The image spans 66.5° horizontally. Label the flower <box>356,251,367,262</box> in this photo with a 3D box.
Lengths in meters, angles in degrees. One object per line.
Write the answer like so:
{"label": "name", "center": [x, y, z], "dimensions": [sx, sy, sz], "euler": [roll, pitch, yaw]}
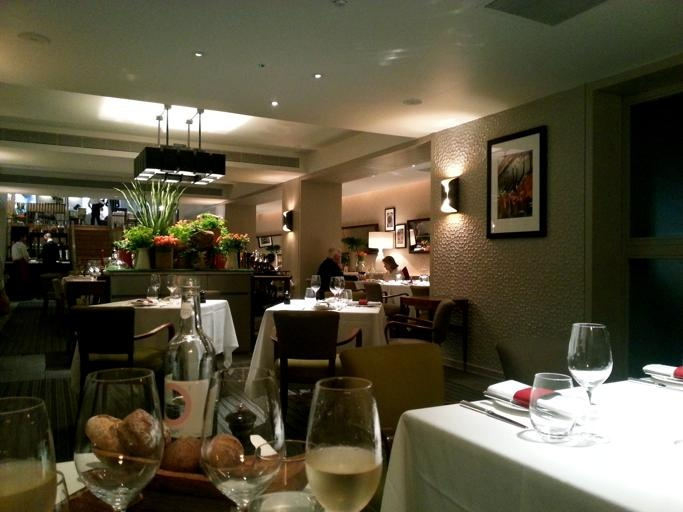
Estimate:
{"label": "flower", "center": [0.470, 0.001, 12.102], "dimensions": [0.207, 0.222, 0.209], "euler": [2, -5, -29]}

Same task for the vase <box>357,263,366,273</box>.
{"label": "vase", "center": [0.439, 0.257, 11.321], "dimensions": [0.191, 0.334, 0.199], "euler": [-2, 4, -23]}

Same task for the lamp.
{"label": "lamp", "center": [-2.168, -1.367, 6.945], "dimensions": [1.047, 1.042, 1.104], "euler": [3, -7, -22]}

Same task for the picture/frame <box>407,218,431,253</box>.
{"label": "picture/frame", "center": [1.564, -0.419, 10.706], "dimensions": [0.129, 0.643, 0.787], "euler": [1, 0, -20]}

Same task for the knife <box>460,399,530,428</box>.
{"label": "knife", "center": [0.476, 0.480, 1.668], "dimensions": [0.055, 0.021, 0.250], "euler": [-1, 3, -28]}

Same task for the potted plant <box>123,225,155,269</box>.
{"label": "potted plant", "center": [-2.232, -0.101, 5.767], "dimensions": [0.260, 0.486, 0.457], "euler": [1, 0, -42]}

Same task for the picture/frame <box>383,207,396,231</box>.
{"label": "picture/frame", "center": [1.078, -0.834, 11.711], "dimensions": [0.077, 0.800, 0.552], "euler": [0, 0, -25]}

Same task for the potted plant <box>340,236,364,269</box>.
{"label": "potted plant", "center": [0.242, -0.095, 12.365], "dimensions": [0.647, 0.945, 0.663], "euler": [2, 0, -14]}

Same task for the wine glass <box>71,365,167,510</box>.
{"label": "wine glass", "center": [-0.430, 0.363, 1.008], "dimensions": [0.154, 0.266, 0.079], "euler": [1, 0, -27]}

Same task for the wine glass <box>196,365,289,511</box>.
{"label": "wine glass", "center": [-0.212, 0.372, 1.065], "dimensions": [0.154, 0.203, 0.172], "euler": [1, 0, -35]}

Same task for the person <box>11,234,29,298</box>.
{"label": "person", "center": [-7.392, 0.256, 11.996], "dimensions": [0.366, 1.473, 1.065], "euler": [1, 0, -32]}

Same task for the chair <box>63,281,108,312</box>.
{"label": "chair", "center": [-3.022, 0.452, 6.117], "dimensions": [0.344, 0.444, 0.606], "euler": [3, -3, -24]}

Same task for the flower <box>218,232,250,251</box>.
{"label": "flower", "center": [-1.321, -0.174, 6.372], "dimensions": [0.354, 0.232, 0.372], "euler": [1, -1, -23]}

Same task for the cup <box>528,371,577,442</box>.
{"label": "cup", "center": [0.580, 0.413, 1.429], "dimensions": [0.096, 0.181, 0.091], "euler": [1, 0, 0]}

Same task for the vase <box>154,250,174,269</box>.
{"label": "vase", "center": [-1.953, 0.038, 5.727], "dimensions": [0.179, 0.189, 0.187], "euler": [2, 4, -3]}

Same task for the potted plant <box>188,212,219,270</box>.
{"label": "potted plant", "center": [-1.597, -0.182, 6.100], "dimensions": [0.348, 0.435, 0.339], "euler": [1, 0, -14]}

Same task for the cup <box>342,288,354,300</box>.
{"label": "cup", "center": [0.063, 0.346, 4.737], "dimensions": [0.092, 0.098, 0.095], "euler": [-1, -1, 0]}

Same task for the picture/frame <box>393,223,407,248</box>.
{"label": "picture/frame", "center": [1.265, -0.436, 11.280], "dimensions": [0.070, 0.722, 0.507], "euler": [3, -3, -25]}

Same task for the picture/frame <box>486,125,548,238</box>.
{"label": "picture/frame", "center": [1.671, -0.682, 5.029], "dimensions": [0.075, 1.032, 0.732], "euler": [1, 0, -27]}
